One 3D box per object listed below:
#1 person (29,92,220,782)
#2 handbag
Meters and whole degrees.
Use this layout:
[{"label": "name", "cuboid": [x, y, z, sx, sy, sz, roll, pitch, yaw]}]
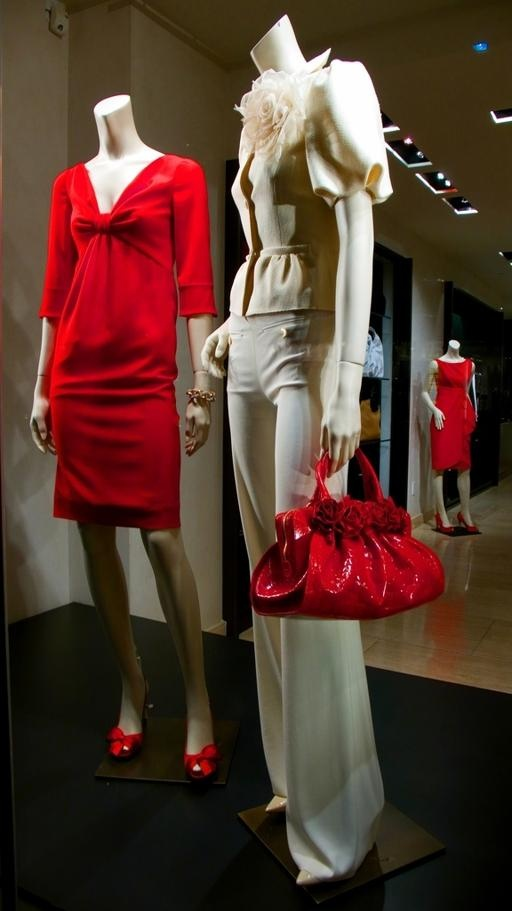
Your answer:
[{"label": "person", "cuboid": [-0.290, -0.042, 1.450, 0.446, 1.429, 0.219, 1, 4, 14]}, {"label": "handbag", "cuboid": [0.128, 0.124, 0.919, 0.248, 0.250, 0.206, -5, 7, -43]}]
